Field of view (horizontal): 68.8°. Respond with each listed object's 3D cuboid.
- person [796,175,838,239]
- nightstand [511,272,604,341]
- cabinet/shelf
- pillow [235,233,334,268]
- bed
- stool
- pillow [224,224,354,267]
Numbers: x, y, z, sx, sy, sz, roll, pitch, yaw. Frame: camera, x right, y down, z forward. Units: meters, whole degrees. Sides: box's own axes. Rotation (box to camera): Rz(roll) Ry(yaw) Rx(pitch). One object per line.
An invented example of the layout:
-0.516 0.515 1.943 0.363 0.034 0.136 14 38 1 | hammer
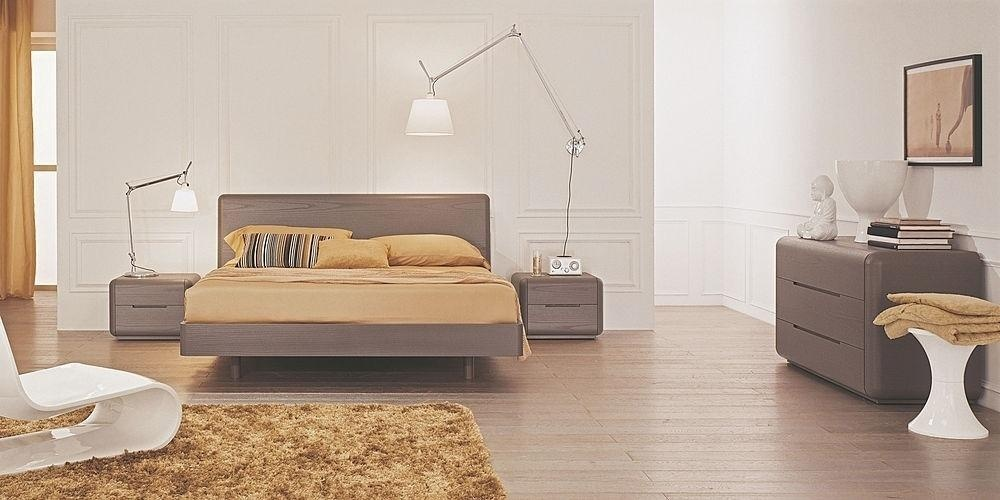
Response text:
3.261 -0.438 7.505 0.360 0.642 0.382 2 12 19 | person
0.717 0.640 8.462 1.071 0.517 0.835 0 0 -4 | nightstand
3.690 0.595 7.597 1.856 1.510 2.740 0 1 1 | cabinet/shelf
-2.497 0.014 8.310 0.178 0.401 1.143 12 8 42 | pillow
-1.396 0.291 7.733 3.368 1.190 2.485 0 1 -3 | bed
3.833 1.142 6.263 0.669 0.928 0.325 3 13 22 | stool
-2.351 0.052 8.274 1.747 0.433 0.249 1 -16 28 | pillow
